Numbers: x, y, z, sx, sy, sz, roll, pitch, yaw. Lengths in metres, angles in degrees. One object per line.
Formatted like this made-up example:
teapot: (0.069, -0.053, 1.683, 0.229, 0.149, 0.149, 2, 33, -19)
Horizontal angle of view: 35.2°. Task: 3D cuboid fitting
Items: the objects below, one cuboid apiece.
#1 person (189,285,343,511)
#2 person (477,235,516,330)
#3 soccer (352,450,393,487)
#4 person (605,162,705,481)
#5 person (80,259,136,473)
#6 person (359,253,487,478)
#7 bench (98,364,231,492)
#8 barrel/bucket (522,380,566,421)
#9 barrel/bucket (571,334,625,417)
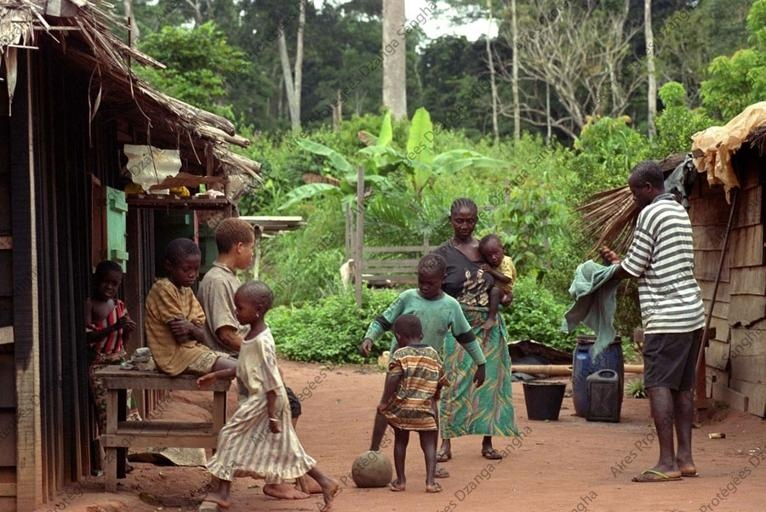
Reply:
person: (-1.408, 1.631, 14.036, 1.438, 2.642, 0.730, -2, 9, -11)
person: (1.445, 0.348, 15.684, 0.453, 1.203, 0.792, 4, -3, -20)
soccer: (-0.136, 2.620, 14.902, 0.446, 0.414, 0.435, 1, -9, 1)
person: (3.433, 0.758, 14.738, 0.846, 3.822, 1.015, -5, 10, -28)
person: (-3.679, 1.340, 15.595, 0.884, 2.469, 0.908, 4, -6, -5)
person: (0.469, 1.177, 14.916, 1.034, 2.941, 1.360, 0, 0, 27)
bench: (-2.657, 2.037, 15.036, 1.504, 1.278, 1.501, 1, 1, -4)
barrel/bucket: (2.397, 2.182, 18.205, 0.559, 0.428, 0.580, -1, -7, 0)
barrel/bucket: (3.134, 1.791, 18.340, 1.063, 1.561, 1.098, 1, -2, 0)
